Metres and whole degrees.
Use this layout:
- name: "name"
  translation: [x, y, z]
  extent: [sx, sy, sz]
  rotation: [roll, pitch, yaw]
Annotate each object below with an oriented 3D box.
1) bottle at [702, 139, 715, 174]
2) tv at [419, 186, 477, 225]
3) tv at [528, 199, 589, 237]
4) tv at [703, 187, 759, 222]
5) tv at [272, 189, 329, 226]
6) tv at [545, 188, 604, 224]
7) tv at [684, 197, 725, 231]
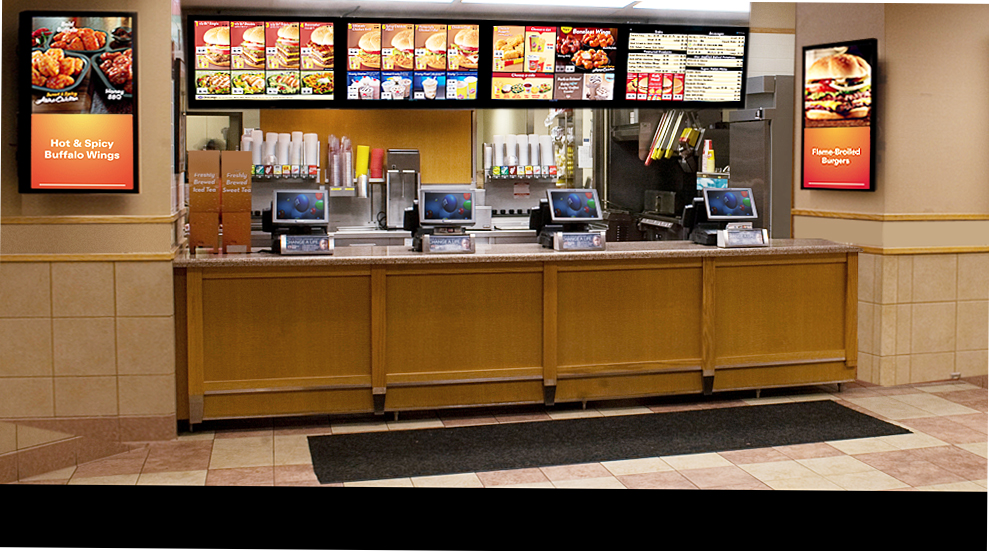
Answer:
- name: "bottle"
  translation: [2.822, -1.596, 9.745]
  extent: [0.165, 0.445, 0.079]
  rotation: [-1, 11, 9]
- name: "tv"
  translation: [-0.507, -0.665, 7.492]
  extent: [0.754, 0.387, 0.374]
  rotation: [0, -4, -9]
- name: "tv"
  translation: [0.655, -0.652, 7.695]
  extent: [0.691, 0.363, 0.460]
  rotation: [-1, 5, -14]
- name: "tv"
  translation: [2.418, -0.735, 7.622]
  extent: [0.570, 0.262, 0.053]
  rotation: [1, -12, -13]
- name: "tv"
  translation: [-1.877, -0.671, 7.114]
  extent: [0.719, 0.362, 0.352]
  rotation: [1, -7, -8]
- name: "tv"
  translation: [0.783, -0.717, 7.546]
  extent: [0.676, 0.357, 0.228]
  rotation: [-3, 3, -8]
- name: "tv"
  translation: [2.078, -0.646, 7.693]
  extent: [0.473, 0.357, 0.355]
  rotation: [-2, 3, -28]
